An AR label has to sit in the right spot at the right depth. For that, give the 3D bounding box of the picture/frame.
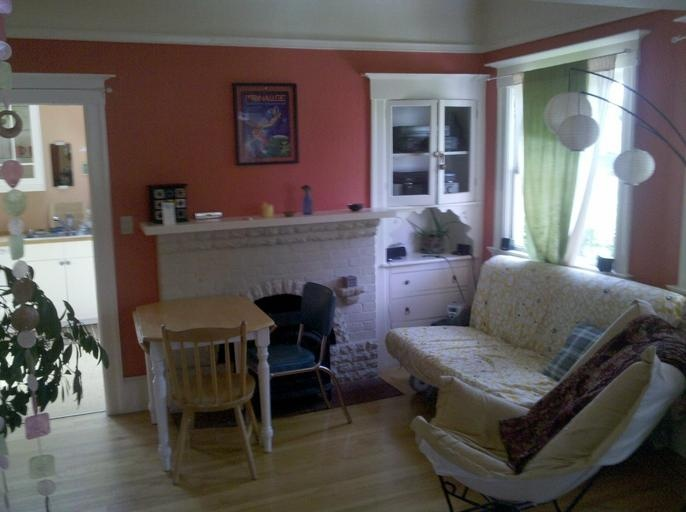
[{"bbox_3d":[-0.644,-1.075,4.405,0.668,0.750,0.033,-5,15,-20],"label":"picture/frame"}]

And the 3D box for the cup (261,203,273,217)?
[{"bbox_3d":[-0.586,-0.363,4.391,0.104,0.114,0.103,0,3,0],"label":"cup"}]

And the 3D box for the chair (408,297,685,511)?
[{"bbox_3d":[1.061,0.920,3.107,1.293,1.183,1.155,10,18,31],"label":"chair"}]

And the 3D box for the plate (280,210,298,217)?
[{"bbox_3d":[-0.428,-0.343,4.480,0.122,0.037,0.183,-3,14,-8],"label":"plate"}]

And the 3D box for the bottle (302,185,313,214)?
[{"bbox_3d":[-0.292,-0.464,4.551,0.091,0.234,0.179,-2,14,-3],"label":"bottle"}]

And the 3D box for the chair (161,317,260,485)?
[{"bbox_3d":[-0.912,0.803,3.865,0.648,1.033,1.184,-5,15,-16],"label":"chair"}]

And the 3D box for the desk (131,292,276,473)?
[{"bbox_3d":[-0.991,0.709,3.972,0.997,0.885,1.210,-2,11,-11],"label":"desk"}]

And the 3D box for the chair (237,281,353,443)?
[{"bbox_3d":[-0.393,0.748,4.209,0.758,1.018,0.726,-4,9,-44],"label":"chair"}]
